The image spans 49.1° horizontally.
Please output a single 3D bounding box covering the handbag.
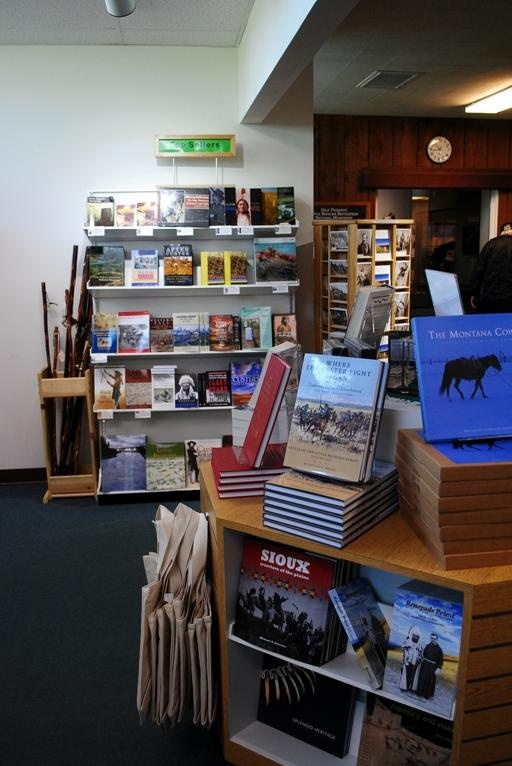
[{"bbox_3d":[-0.231,0.805,1.649,0.145,0.423,0.310,-1,-3,4],"label":"handbag"}]

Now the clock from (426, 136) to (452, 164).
[{"bbox_3d":[2.304,-2.924,7.034,0.318,0.330,0.074,-13,14,-16],"label":"clock"}]
